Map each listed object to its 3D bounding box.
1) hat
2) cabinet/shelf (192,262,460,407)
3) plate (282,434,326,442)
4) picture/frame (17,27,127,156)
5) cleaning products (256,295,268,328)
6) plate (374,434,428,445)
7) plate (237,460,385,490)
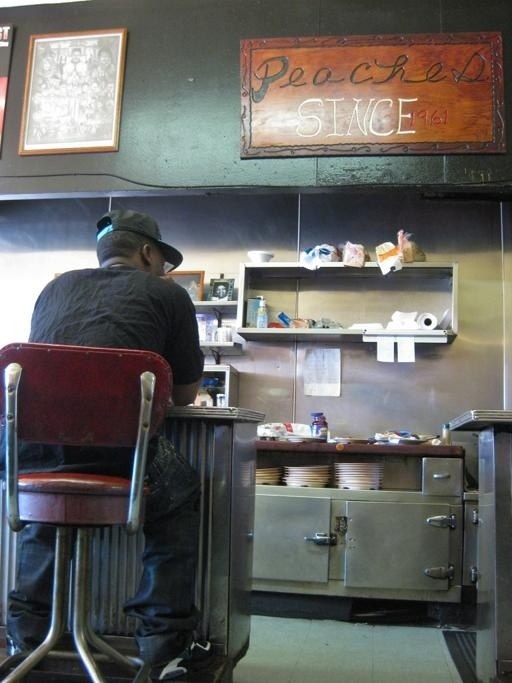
[{"bbox_3d":[-0.364,-0.354,2.282,0.295,0.142,0.183,20,-27,-35],"label":"hat"},{"bbox_3d":[0.500,-0.029,4.528,1.630,0.983,0.402,0,-6,12],"label":"cabinet/shelf"},{"bbox_3d":[0.288,0.580,3.973,0.251,0.033,0.565,1,-5,6],"label":"plate"},{"bbox_3d":[-0.908,-1.241,3.369,0.757,0.787,0.033,1,-10,8],"label":"picture/frame"},{"bbox_3d":[0.037,-0.195,4.593,0.081,0.229,0.192,2,-6,0],"label":"cleaning products"},{"bbox_3d":[0.823,0.562,3.824,0.311,0.050,0.364,0,-5,14],"label":"plate"},{"bbox_3d":[0.330,0.720,3.580,0.671,0.151,0.316,1,-5,11],"label":"plate"}]
